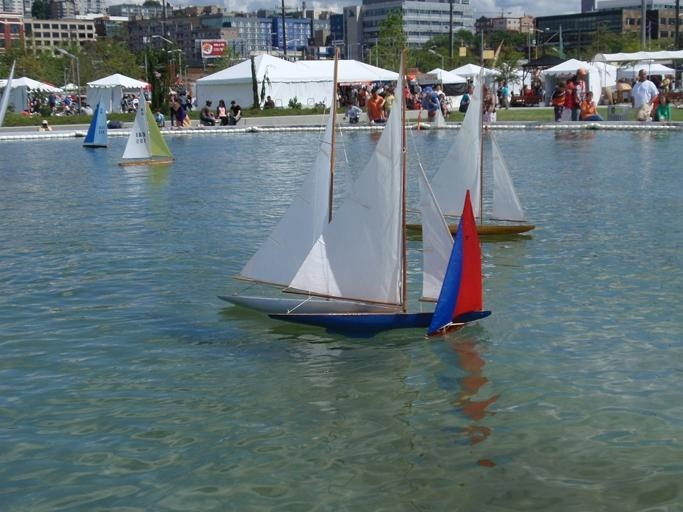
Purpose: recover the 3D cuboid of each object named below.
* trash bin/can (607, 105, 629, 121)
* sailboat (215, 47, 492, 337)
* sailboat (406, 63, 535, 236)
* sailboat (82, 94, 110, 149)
[{"bbox_3d":[11.441,-5.772,39.478,0.779,0.522,1.337,1,10,10],"label":"trash bin/can"},{"bbox_3d":[0.276,-0.832,13.750,3.449,4.024,0.932,2,9,14],"label":"sailboat"},{"bbox_3d":[2.508,-1.881,17.915,2.422,2.971,0.643,6,15,23],"label":"sailboat"},{"bbox_3d":[-10.122,-5.134,37.770,0.960,1.845,1.921,-3,10,-16],"label":"sailboat"}]
